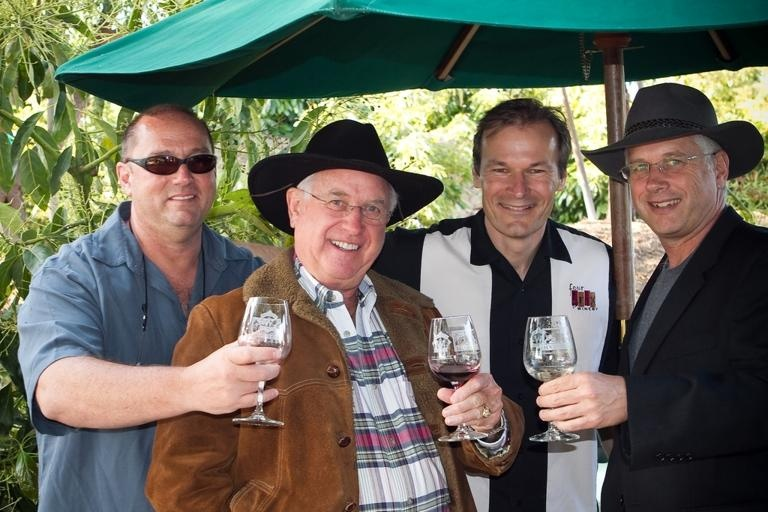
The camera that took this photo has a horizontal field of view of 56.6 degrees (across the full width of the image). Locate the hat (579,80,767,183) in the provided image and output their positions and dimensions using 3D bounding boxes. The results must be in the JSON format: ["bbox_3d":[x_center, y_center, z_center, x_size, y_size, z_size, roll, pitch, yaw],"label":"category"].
[{"bbox_3d":[1.955,-0.572,4.383,0.731,0.303,0.826,-18,-32,40],"label":"hat"}]

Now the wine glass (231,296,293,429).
[{"bbox_3d":[-0.586,0.512,3.391,0.276,0.635,0.395,-3,-3,-18],"label":"wine glass"}]

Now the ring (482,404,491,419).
[{"bbox_3d":[0.542,0.827,3.784,0.054,0.064,0.028,4,-9,-26],"label":"ring"}]
